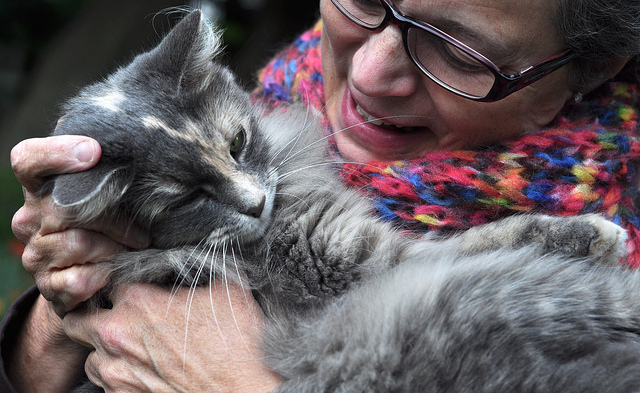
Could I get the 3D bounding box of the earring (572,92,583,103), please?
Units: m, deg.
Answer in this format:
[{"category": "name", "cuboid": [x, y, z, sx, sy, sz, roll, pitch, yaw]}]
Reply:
[{"category": "earring", "cuboid": [1.466, -0.566, 4.424, 0.055, 0.052, 0.015, 1, 17, 6]}]
